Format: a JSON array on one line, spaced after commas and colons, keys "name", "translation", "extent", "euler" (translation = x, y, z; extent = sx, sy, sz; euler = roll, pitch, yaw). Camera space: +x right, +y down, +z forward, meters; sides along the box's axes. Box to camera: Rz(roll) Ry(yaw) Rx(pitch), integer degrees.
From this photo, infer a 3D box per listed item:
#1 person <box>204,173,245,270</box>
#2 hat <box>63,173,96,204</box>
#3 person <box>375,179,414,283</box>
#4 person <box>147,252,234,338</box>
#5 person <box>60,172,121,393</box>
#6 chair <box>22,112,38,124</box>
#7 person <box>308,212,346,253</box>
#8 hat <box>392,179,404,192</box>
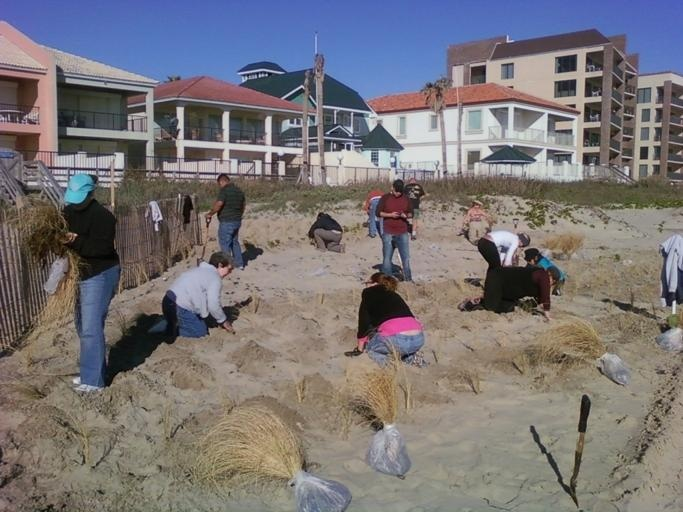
[{"name": "person", "translation": [-2.348, -0.691, 12.359], "extent": [0.707, 1.983, 1.562], "euler": [0, 5, -9]}, {"name": "hat", "translation": [-2.786, -0.712, 6.438], "extent": [0.288, 0.333, 0.314], "euler": [-2, 6, -23]}, {"name": "person", "translation": [1.002, -0.465, 11.454], "extent": [0.642, 1.975, 0.733], "euler": [1, 5, 7]}, {"name": "person", "translation": [-2.044, 0.675, 8.371], "extent": [0.875, 1.509, 0.898], "euler": [-5, 33, -42]}, {"name": "person", "translation": [-2.674, 0.301, 6.485], "extent": [0.537, 2.329, 0.324], "euler": [-2, 5, -22]}, {"name": "chair", "translation": [-14.010, -6.262, 27.277], "extent": [0.696, 0.526, 0.300], "euler": [4, -15, -34]}, {"name": "person", "translation": [-0.389, -0.645, 15.631], "extent": [0.866, 1.046, 0.813], "euler": [6, 7, 2]}, {"name": "hat", "translation": [1.039, -1.302, 11.130], "extent": [0.176, 0.249, 0.237], "euler": [-2, 9, 2]}]
